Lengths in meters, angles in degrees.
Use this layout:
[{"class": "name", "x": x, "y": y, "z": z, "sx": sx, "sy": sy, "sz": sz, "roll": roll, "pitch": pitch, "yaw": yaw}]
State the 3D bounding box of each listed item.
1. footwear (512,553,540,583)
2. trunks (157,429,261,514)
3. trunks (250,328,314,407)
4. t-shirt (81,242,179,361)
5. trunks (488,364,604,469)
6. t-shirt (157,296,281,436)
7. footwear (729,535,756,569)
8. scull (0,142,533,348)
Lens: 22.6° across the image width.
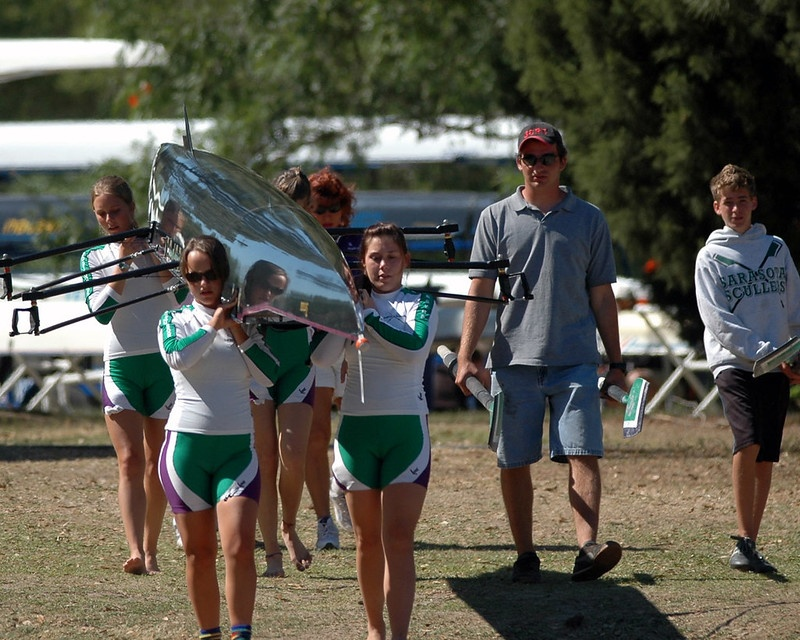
[{"class": "footwear", "x": 1.022, "y": 2.040, "z": 16.335, "sx": 0.226, "sy": 0.222, "sz": 0.225, "roll": -3, "pitch": 10, "yaw": 3}, {"class": "trunks", "x": -1.484, "y": 1.303, "z": 15.460, "sx": 0.886, "sy": 0.666, "sz": 0.610, "roll": 0, "pitch": -10, "yaw": -7}, {"class": "trunks", "x": -0.993, "y": 0.397, "z": 16.246, "sx": 0.635, "sy": 0.833, "sz": 0.447, "roll": 0, "pitch": -13, "yaw": 1}, {"class": "t-shirt", "x": -2.181, "y": -0.181, "z": 16.255, "sx": 0.952, "sy": 1.064, "sz": 0.416, "roll": -9, "pitch": 7, "yaw": -21}, {"class": "trunks", "x": 1.189, "y": 0.777, "z": 16.368, "sx": 0.791, "sy": 0.720, "sz": 0.426, "roll": -5, "pitch": -26, "yaw": 16}, {"class": "t-shirt", "x": -1.405, "y": 0.337, "z": 15.452, "sx": 0.971, "sy": 1.020, "sz": 0.598, "roll": 8, "pitch": -22, "yaw": -19}, {"class": "footwear", "x": 2.848, "y": 1.950, "z": 16.581, "sx": 0.219, "sy": 0.273, "sz": 0.182, "roll": 0, "pitch": 11, "yaw": 19}, {"class": "scull", "x": -1.292, "y": -0.729, "z": 15.764, "sx": 2.452, "sy": 0.567, "sz": 2.356, "roll": -4, "pitch": 32, "yaw": -20}]
